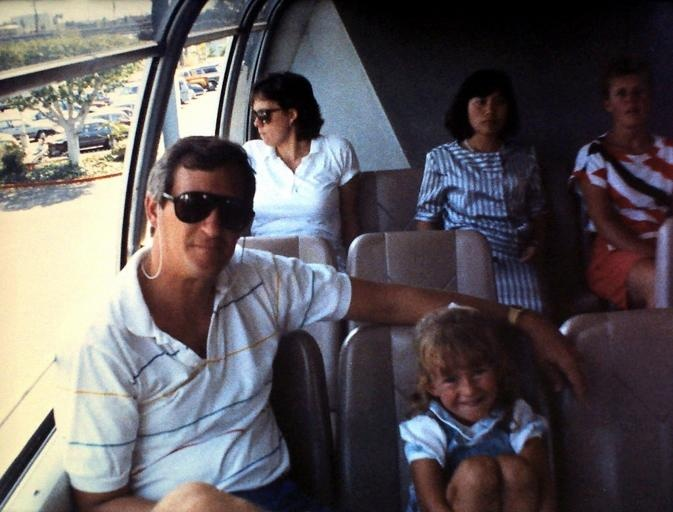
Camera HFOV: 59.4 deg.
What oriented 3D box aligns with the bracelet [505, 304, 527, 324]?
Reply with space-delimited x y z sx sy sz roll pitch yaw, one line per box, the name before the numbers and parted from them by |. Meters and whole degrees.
bracelet | 0.387 0.126 1.273 0.040 0.015 0.040 -39 24 -26
